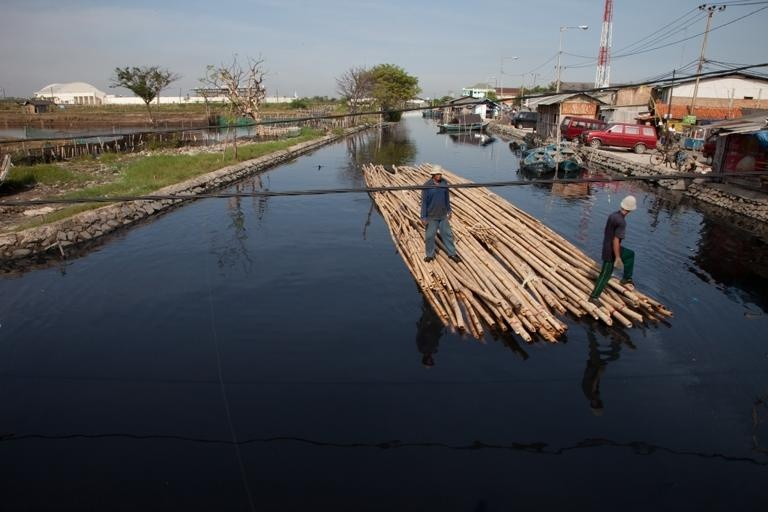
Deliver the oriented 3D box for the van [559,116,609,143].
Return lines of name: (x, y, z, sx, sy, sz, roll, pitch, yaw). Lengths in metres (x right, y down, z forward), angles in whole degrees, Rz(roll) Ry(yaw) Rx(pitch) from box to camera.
van: (14.271, -8.473, 33.964, 3.268, 1.545, 1.892, -5, 28, 0)

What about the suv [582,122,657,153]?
suv: (14.779, -7.439, 30.976, 4.006, 1.571, 2.067, 10, 21, 21)

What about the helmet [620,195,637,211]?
helmet: (4.727, -0.986, 9.483, 0.185, 0.296, 0.492, 15, 28, 34)

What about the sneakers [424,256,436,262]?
sneakers: (1.041, 0.076, 11.160, 0.170, 0.110, 0.171, -6, 1, 25)

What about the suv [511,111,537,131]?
suv: (15.392, -14.648, 53.460, 2.596, 1.864, 4.077, -5, 14, -16)
